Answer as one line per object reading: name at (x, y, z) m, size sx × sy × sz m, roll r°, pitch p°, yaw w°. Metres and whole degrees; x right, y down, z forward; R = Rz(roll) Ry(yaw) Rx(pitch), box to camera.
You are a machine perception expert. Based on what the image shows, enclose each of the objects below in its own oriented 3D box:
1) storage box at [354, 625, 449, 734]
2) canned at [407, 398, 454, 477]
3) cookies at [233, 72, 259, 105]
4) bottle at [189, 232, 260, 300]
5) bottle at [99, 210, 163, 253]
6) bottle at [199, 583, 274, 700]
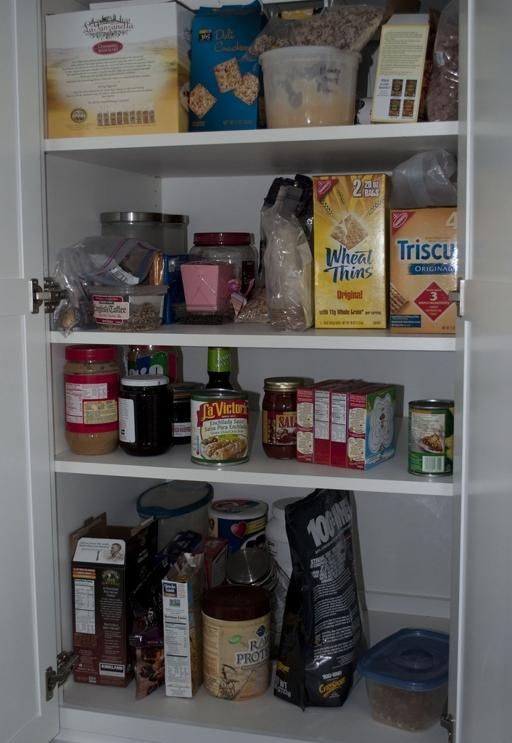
storage box at (0.267, 0.519, 1.079) m, size 0.110 × 0.065 × 0.174 m, roll -4°, pitch -4°, yaw 23°
canned at (0.275, 0.107, 0.986) m, size 0.069 × 0.109 × 0.039 m, roll -2°, pitch 6°, yaw 14°
cookies at (-0.014, -0.451, 1.002) m, size 0.048 × 0.045 × 0.010 m, roll 13°, pitch 6°, yaw 18°
bottle at (-0.069, -0.210, 1.289) m, size 0.130 × 0.130 × 0.137 m, roll 0°, pitch 3°, yaw -3°
bottle at (-0.251, -0.263, 1.242) m, size 0.096 × 0.074 × 0.101 m, roll 0°, pitch 6°, yaw 0°
bottle at (-0.034, 0.469, 1.169) m, size 0.159 × 0.176 × 0.159 m, roll 1°, pitch 3°, yaw 28°
